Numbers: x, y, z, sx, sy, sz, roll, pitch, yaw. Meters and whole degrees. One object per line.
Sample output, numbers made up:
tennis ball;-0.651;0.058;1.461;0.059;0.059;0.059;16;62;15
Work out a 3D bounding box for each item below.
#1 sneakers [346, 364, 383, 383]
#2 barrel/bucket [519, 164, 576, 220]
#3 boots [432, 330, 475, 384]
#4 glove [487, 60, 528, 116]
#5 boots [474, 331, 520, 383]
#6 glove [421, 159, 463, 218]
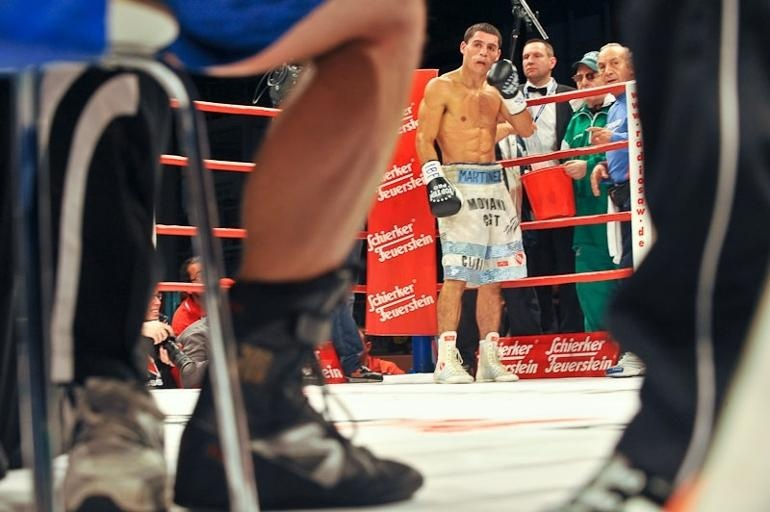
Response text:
sneakers;-0.078;0.444;3.356;0.187;0.078;0.061;0;-4;-2
barrel/bucket;0.667;-0.246;3.671;0.218;0.171;0.223;-12;-4;-1
boots;0.221;0.348;3.005;0.095;0.167;0.247;-7;12;6
glove;0.453;-0.605;3.254;0.112;0.061;0.190;-27;-50;27
boots;0.399;0.367;3.216;0.080;0.183;0.211;1;-1;-32
glove;0.157;-0.235;3.030;0.125;0.205;0.080;-2;-29;-13
